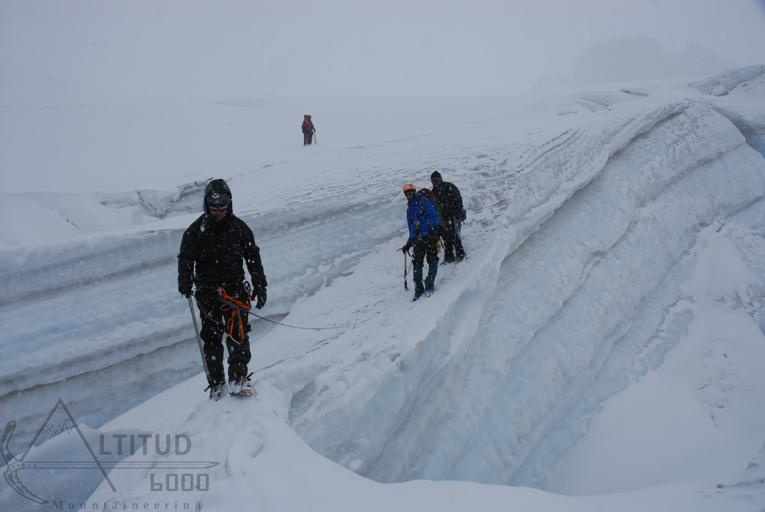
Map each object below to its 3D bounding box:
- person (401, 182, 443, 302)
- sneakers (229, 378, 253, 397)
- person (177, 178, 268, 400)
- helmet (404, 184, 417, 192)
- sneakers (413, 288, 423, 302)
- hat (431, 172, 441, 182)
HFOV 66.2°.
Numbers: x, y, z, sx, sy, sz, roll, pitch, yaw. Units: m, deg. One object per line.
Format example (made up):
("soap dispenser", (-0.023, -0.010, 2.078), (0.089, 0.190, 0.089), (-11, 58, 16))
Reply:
("person", (0.668, -0.256, 9.780), (0.641, 1.788, 0.835), (-1, 25, 6))
("sneakers", (-1.840, 1.730, 7.668), (0.279, 0.211, 0.093), (-3, -2, -16))
("person", (-2.073, 0.560, 7.715), (0.960, 2.957, 1.219), (0, 25, 8))
("helmet", (0.459, -1.127, 9.781), (0.180, 0.096, 0.258), (-9, 4, 5))
("sneakers", (0.605, 0.639, 9.801), (0.091, 0.212, 0.153), (23, 3, 0))
("hat", (0.954, -1.400, 10.402), (0.152, 0.172, 0.165), (-11, -23, 27))
